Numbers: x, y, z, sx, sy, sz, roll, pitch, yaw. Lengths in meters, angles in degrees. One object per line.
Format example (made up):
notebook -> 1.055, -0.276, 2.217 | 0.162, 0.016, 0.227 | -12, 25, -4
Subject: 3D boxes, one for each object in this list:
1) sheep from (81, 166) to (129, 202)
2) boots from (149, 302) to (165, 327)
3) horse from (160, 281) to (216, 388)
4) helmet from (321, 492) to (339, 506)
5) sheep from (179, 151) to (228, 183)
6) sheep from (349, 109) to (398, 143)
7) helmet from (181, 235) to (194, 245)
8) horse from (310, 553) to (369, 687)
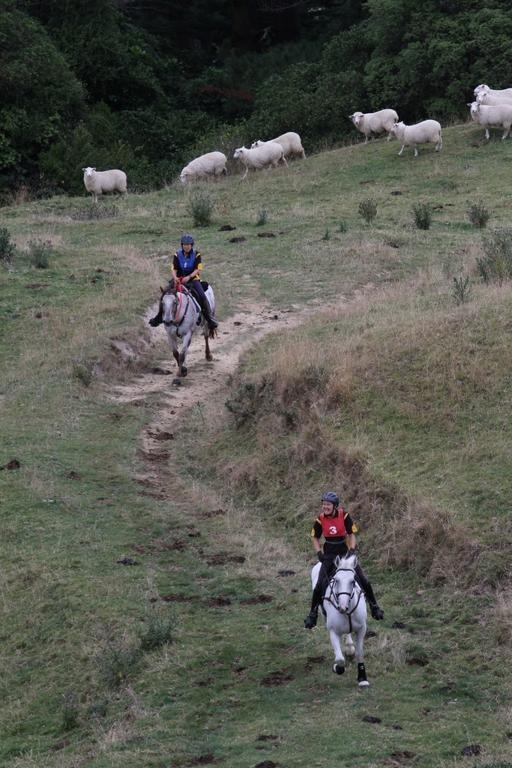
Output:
sheep -> -4.258, -5.680, 38.279 | 1.027, 0.902, 3.015 | -3, 7, -3
boots -> -1.713, -1.189, 23.239 | 0.124, 0.502, 0.262 | 7, -5, 16
horse -> -1.163, -0.997, 23.083 | 0.560, 1.635, 2.372 | 3, 14, 15
helmet -> 0.784, 1.213, 14.353 | 0.122, 0.162, 0.170 | 5, -27, 4
sheep -> -1.644, -6.653, 41.433 | 1.433, 0.888, 1.001 | -4, 7, -10
sheep -> 3.583, -7.807, 40.680 | 0.679, 1.227, 1.985 | -7, 9, -44
helmet -> -1.147, -2.390, 22.263 | 0.147, 0.190, 0.206 | 0, -4, -2
horse -> 0.861, 2.391, 13.910 | 0.533, 1.336, 0.817 | -2, 6, 2
